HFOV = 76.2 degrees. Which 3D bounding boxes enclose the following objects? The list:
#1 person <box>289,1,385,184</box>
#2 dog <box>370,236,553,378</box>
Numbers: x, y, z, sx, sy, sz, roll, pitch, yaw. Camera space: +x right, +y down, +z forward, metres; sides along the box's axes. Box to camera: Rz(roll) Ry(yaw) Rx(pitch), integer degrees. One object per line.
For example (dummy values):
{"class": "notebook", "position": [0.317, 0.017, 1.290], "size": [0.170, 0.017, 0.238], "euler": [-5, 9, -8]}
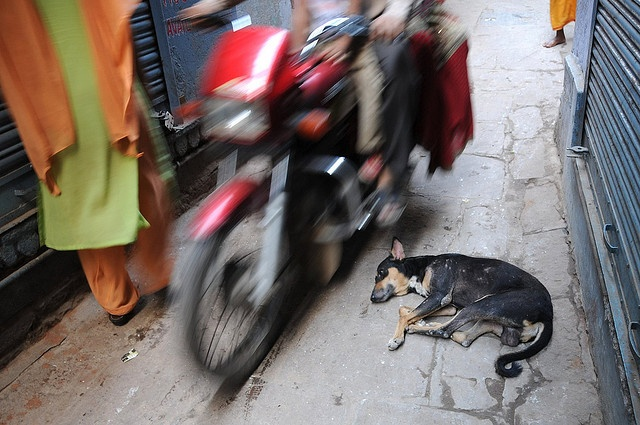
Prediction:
{"class": "person", "position": [0.129, -0.943, 2.999], "size": [0.612, 0.733, 1.164], "euler": [12, 59, 18]}
{"class": "dog", "position": [0.988, 0.698, 3.065], "size": [1.359, 0.397, 0.828], "euler": [1, 66, 40]}
